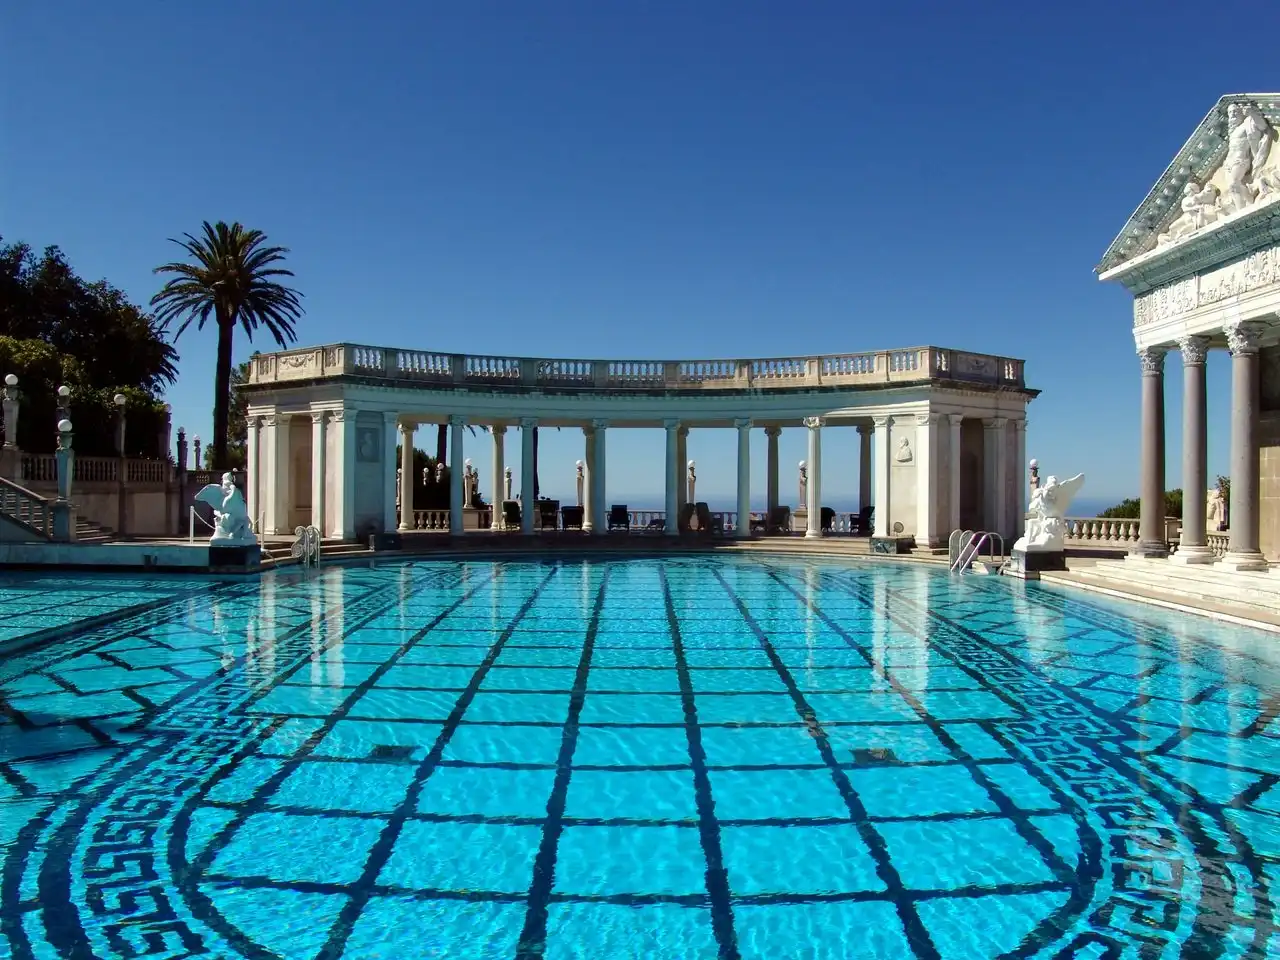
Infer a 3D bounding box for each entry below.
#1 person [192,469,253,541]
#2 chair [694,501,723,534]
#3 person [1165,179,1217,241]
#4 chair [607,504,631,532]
[{"bbox_3d":[-9.647,0.639,23.053,1.509,1.627,0.967,5,5,-11],"label":"person"},{"bbox_3d":[2.375,1.347,34.736,1.154,0.827,1.070,0,8,-2],"label":"chair"},{"bbox_3d":[11.420,-5.593,20.414,0.468,1.345,1.443,0,5,-2],"label":"person"},{"bbox_3d":[-0.710,1.366,35.425,0.707,0.715,1.361,-3,9,-20],"label":"chair"}]
